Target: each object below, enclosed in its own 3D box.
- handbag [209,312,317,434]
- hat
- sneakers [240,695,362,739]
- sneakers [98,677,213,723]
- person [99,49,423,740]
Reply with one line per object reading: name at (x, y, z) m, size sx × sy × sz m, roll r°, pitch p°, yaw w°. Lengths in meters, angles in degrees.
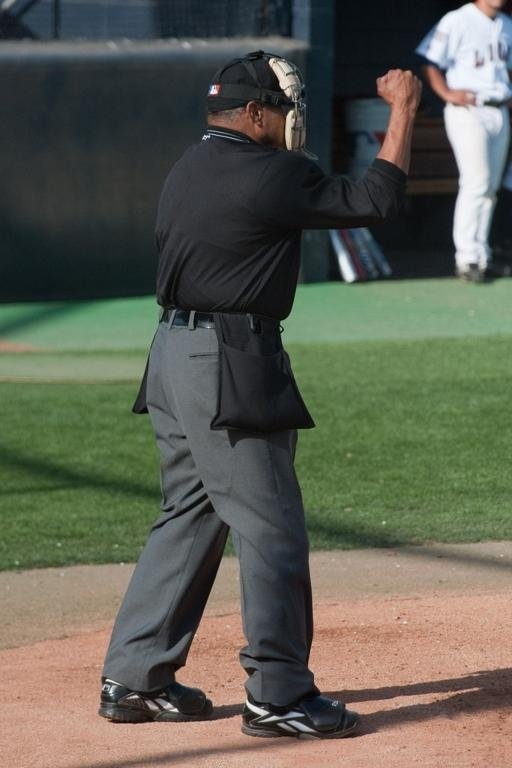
handbag at (0.021, -0.021, 2.566) m, size 0.247 × 0.266 × 0.160 m, roll 2°, pitch 12°, yaw -6°
hat at (-0.005, -0.737, 2.664) m, size 0.231 × 0.118 × 0.141 m, roll -10°, pitch 26°, yaw -15°
sneakers at (0.109, 0.797, 2.619) m, size 0.271 × 0.090 × 0.104 m, roll -1°, pitch -2°, yaw 2°
sneakers at (-0.257, 0.808, 2.788) m, size 0.316 × 0.127 × 0.102 m, roll -2°, pitch 2°, yaw -11°
person at (-0.010, 0.042, 2.646) m, size 0.661 × 1.683 × 0.516 m, roll 5°, pitch 13°, yaw 5°
